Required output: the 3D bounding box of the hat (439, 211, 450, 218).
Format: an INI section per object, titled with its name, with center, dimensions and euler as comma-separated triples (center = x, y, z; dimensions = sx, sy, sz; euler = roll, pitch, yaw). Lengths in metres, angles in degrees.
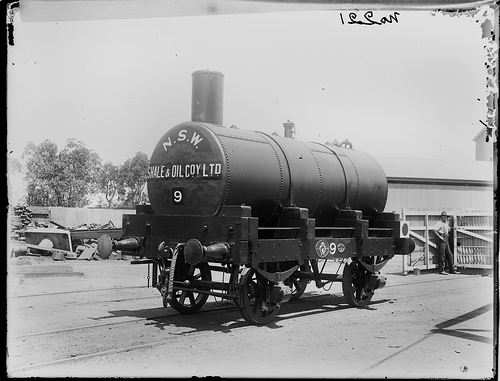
[hat]
center = 7.592, 0.923, 20.910
dimensions = 0.306, 0.183, 0.214
euler = -7, 7, -32
